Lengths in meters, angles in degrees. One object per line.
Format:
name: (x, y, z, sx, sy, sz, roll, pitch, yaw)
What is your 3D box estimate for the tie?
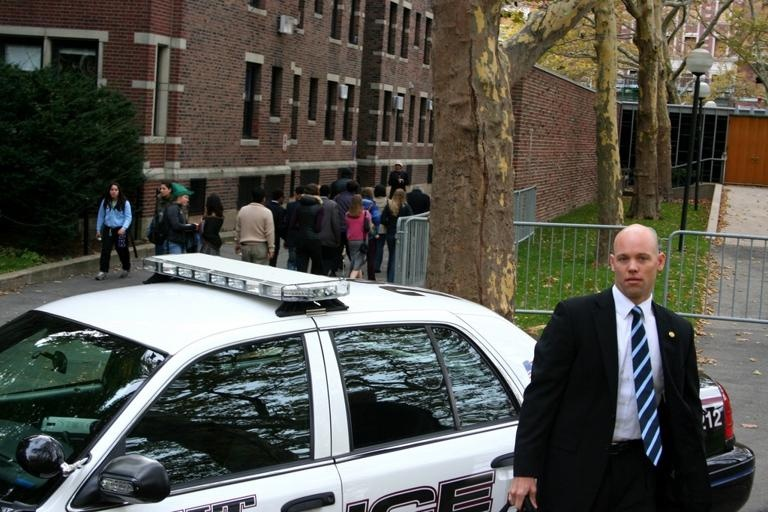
tie: (1.442, 0.700, 3.672, 0.123, 0.889, 0.072, -5, -18, 3)

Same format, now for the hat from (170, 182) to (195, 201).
hat: (-4.455, -1.402, 14.545, 0.376, 0.337, 0.787, -1, 4, -18)

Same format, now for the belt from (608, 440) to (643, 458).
belt: (1.343, 1.061, 3.674, 0.110, 0.052, 0.128, -2, 2, -25)

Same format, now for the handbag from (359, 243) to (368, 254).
handbag: (-0.437, -0.172, 14.923, 0.149, 0.218, 0.161, 5, -11, -2)

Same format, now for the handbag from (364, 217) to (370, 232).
handbag: (-0.355, -0.692, 14.938, 0.128, 0.252, 0.081, 4, -6, -33)

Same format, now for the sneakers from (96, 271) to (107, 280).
sneakers: (-6.429, 0.449, 15.128, 0.132, 0.102, 0.232, 1, 17, 2)

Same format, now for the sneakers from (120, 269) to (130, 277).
sneakers: (-6.023, 0.396, 15.488, 0.151, 0.172, 0.419, -1, -2, -11)

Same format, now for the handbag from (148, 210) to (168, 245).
handbag: (-4.944, -0.605, 14.488, 0.260, 0.727, 0.758, -2, 4, -30)
